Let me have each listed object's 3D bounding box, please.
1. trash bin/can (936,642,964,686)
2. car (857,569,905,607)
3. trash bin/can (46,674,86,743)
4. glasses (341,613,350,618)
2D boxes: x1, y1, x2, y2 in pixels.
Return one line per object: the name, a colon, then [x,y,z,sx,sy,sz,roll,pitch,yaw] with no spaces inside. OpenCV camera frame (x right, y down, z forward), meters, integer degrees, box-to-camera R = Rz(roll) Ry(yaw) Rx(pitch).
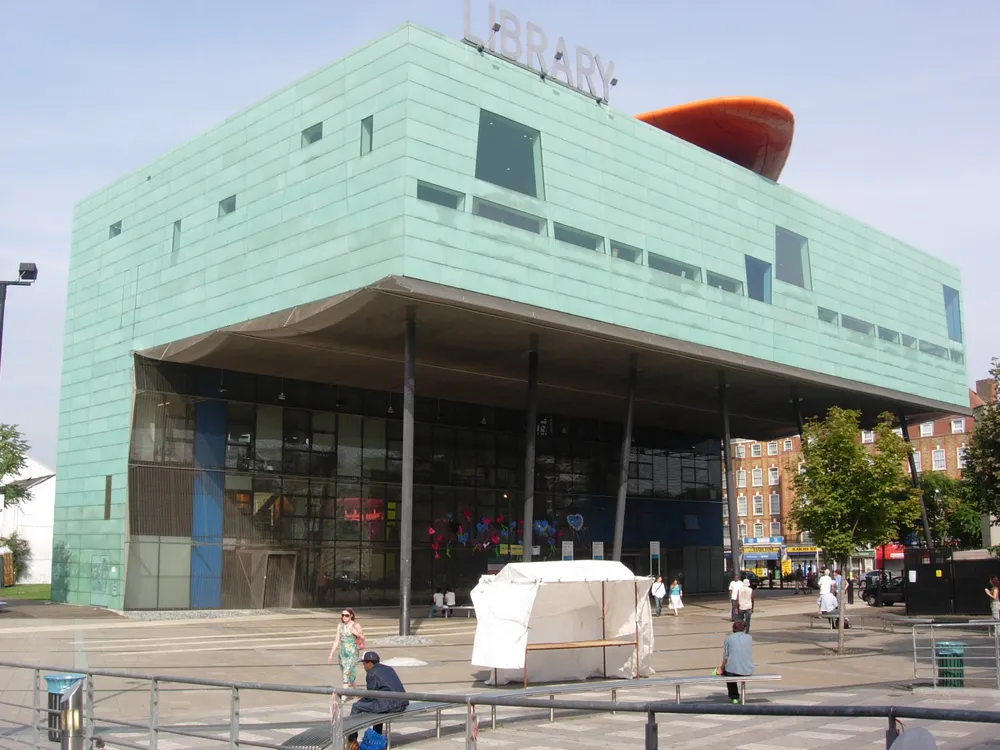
trash bin/can: [9.646,6.174,19.882,0.632,0.886,0.553,-4,-12,14]
car: [22.238,12.134,52.538,3.550,1.495,1.827,1,-10,4]
trash bin/can: [-6.606,5.076,13.964,0.504,1.090,1.711,5,-13,-25]
glasses: [-3.461,5.432,20.904,0.197,0.087,0.251,-4,-15,19]
